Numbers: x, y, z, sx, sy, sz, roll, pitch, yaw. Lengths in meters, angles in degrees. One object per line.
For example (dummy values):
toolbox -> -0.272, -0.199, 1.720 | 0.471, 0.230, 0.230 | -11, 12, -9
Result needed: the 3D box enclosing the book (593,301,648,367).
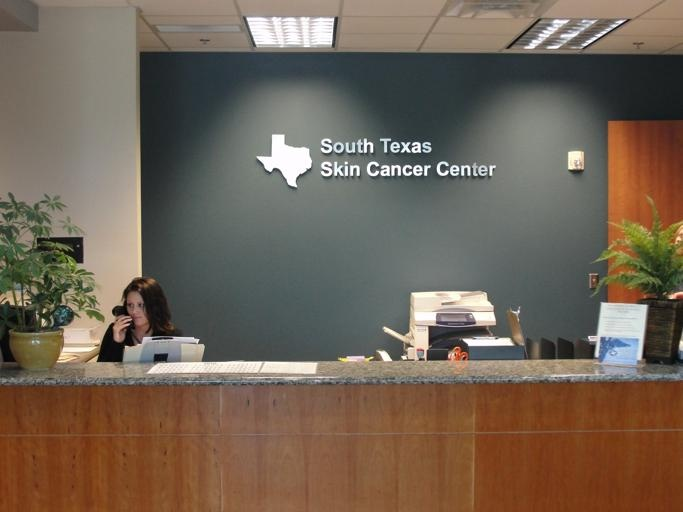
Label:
book -> 1.547, 0.447, 3.651 | 0.337, 0.461, 0.051 | 4, -10, 20
